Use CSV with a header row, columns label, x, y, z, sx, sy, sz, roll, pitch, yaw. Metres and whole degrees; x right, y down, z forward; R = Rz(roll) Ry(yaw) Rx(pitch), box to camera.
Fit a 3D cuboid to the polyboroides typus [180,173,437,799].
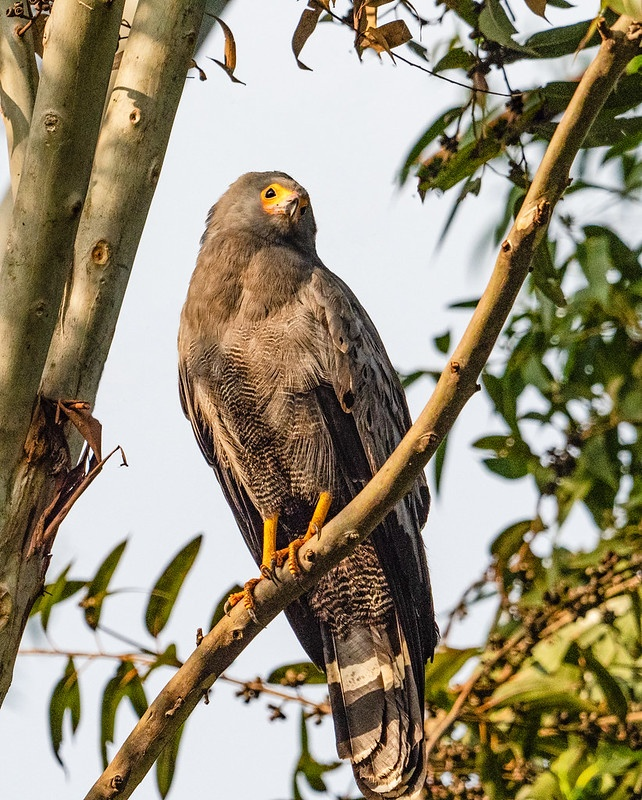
label,x,y,z,sx,sy,sz,roll,pitch,yaw
polyboroides typus,-0.009,0.303,4.886,0.460,1.616,1.167,-11,-46,6
